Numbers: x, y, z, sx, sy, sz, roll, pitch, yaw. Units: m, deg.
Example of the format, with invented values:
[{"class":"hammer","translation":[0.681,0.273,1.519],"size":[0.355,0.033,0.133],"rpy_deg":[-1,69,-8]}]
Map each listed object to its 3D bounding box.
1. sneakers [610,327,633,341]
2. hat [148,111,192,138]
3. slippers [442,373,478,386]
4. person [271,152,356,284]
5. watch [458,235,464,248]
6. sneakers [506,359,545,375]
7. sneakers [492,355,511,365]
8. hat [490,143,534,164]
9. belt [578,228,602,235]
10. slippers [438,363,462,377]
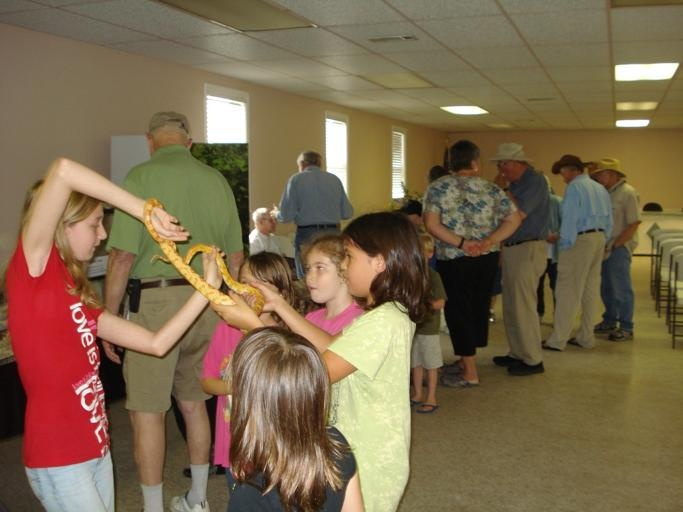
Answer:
[{"class":"sneakers","translation":[3.288,0.945,6.623],"size":[0.306,0.132,0.120],"rpy_deg":[1,-1,-10]},{"class":"hat","translation":[-1.010,-0.750,3.222],"size":[0.198,0.101,0.162],"rpy_deg":[-4,6,42]},{"class":"slippers","translation":[1.045,1.135,5.044],"size":[0.229,0.069,0.128],"rpy_deg":[4,1,-2]},{"class":"person","translation":[-0.318,-0.159,6.255],"size":[0.945,1.924,0.694],"rpy_deg":[-4,7,-24]},{"class":"watch","translation":[0.991,-0.110,4.622],"size":[0.022,0.073,0.078],"rpy_deg":[19,-15,-12]},{"class":"sneakers","translation":[1.756,1.078,5.387],"size":[0.345,0.140,0.134],"rpy_deg":[4,-7,-10]},{"class":"sneakers","translation":[1.610,1.062,5.645],"size":[0.161,0.064,0.080],"rpy_deg":[3,5,1]},{"class":"hat","translation":[1.637,-0.983,5.527],"size":[0.429,0.170,0.418],"rpy_deg":[-1,6,2]},{"class":"belt","translation":[2.661,-0.258,5.955],"size":[0.256,0.075,0.084],"rpy_deg":[-3,10,-15]},{"class":"slippers","translation":[1.047,1.107,5.400],"size":[0.214,0.081,0.093],"rpy_deg":[1,4,6]}]
